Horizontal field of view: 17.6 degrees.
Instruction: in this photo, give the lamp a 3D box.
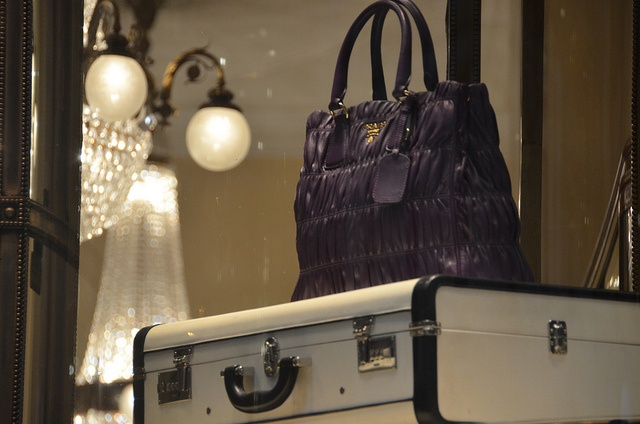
[{"bbox_3d":[-0.282,-0.167,3.759,0.312,0.421,0.196,-3,-20,-8],"label":"lamp"}]
